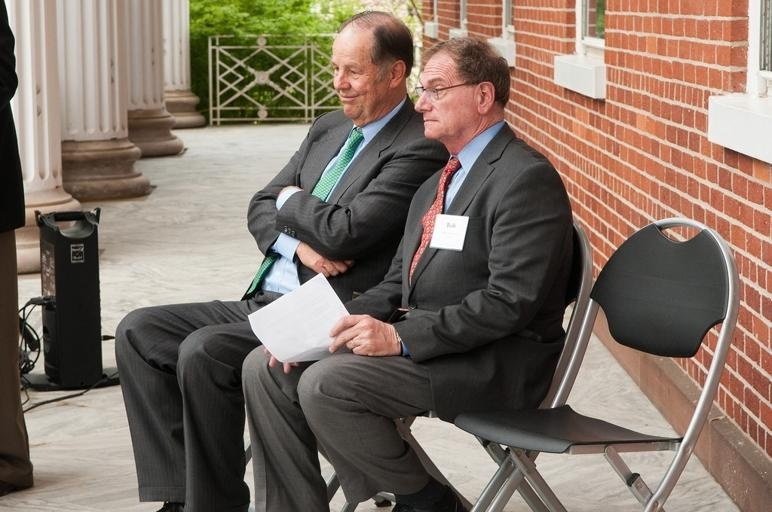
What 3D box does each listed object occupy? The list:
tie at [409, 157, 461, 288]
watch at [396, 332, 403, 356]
[{"bbox_3d":[0.187,-0.107,2.773,0.075,0.545,0.083,18,-7,14],"label":"tie"},{"bbox_3d":[0.049,0.328,2.574,0.021,0.057,0.042,2,-5,1],"label":"watch"}]
